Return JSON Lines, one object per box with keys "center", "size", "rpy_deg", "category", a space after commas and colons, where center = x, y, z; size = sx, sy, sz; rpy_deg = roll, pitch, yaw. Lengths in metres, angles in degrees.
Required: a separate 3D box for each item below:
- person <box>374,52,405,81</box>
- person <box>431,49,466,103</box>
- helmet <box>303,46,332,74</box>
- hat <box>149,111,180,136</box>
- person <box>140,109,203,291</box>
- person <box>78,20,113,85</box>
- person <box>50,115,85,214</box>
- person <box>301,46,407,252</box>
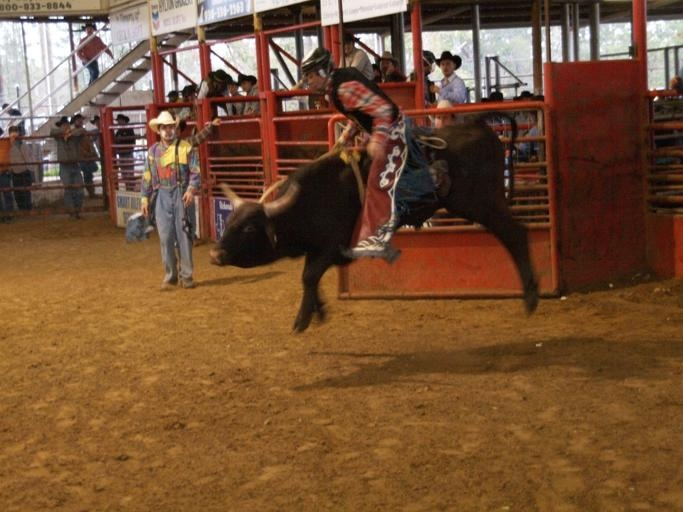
{"center": [0.886, -3.412, 11.000], "size": [0.586, 0.364, 0.887], "rpy_deg": [-3, -1, 3], "category": "person"}
{"center": [1.710, -2.823, 9.896], "size": [0.572, 1.020, 0.665], "rpy_deg": [-9, 13, -37], "category": "person"}
{"center": [-0.194, -1.522, 4.686], "size": [0.246, 0.172, 0.109], "rpy_deg": [-3, 11, -1], "category": "helmet"}
{"center": [-2.270, -1.729, 7.768], "size": [0.343, 0.284, 0.584], "rpy_deg": [-5, 12, -15], "category": "hat"}
{"center": [-2.179, -0.716, 7.818], "size": [0.920, 2.257, 0.446], "rpy_deg": [5, 13, 36], "category": "person"}
{"center": [-7.736, -6.340, 18.748], "size": [1.193, 1.880, 0.844], "rpy_deg": [7, 14, 39], "category": "person"}
{"center": [-6.857, -2.225, 15.296], "size": [0.663, 2.536, 1.289], "rpy_deg": [-7, 12, -24], "category": "person"}
{"center": [0.140, -0.797, 4.757], "size": [0.739, 1.648, 0.371], "rpy_deg": [-1, 11, 7], "category": "person"}
